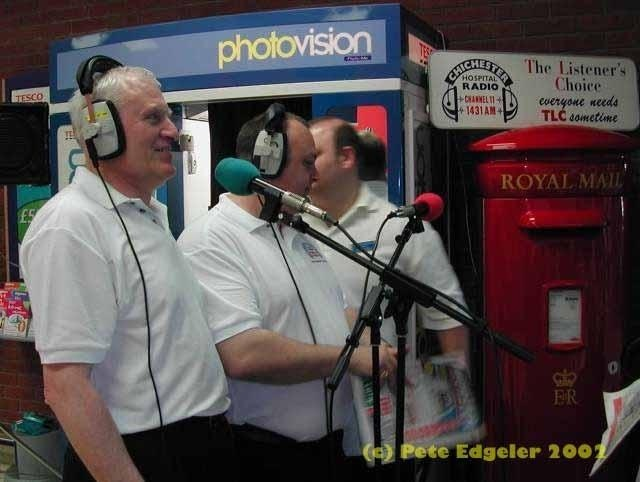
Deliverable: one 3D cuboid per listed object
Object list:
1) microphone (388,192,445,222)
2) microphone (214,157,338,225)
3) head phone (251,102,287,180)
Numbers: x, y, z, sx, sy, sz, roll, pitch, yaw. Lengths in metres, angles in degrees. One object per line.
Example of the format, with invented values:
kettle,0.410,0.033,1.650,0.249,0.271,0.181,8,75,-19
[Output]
microphone,0.338,-0.121,2.087,0.244,0.077,0.067,-8,-18,-37
microphone,-0.157,-0.181,2.291,0.419,0.109,0.116,26,18,10
head phone,-0.169,-0.382,2.487,0.105,0.270,0.278,9,6,6
